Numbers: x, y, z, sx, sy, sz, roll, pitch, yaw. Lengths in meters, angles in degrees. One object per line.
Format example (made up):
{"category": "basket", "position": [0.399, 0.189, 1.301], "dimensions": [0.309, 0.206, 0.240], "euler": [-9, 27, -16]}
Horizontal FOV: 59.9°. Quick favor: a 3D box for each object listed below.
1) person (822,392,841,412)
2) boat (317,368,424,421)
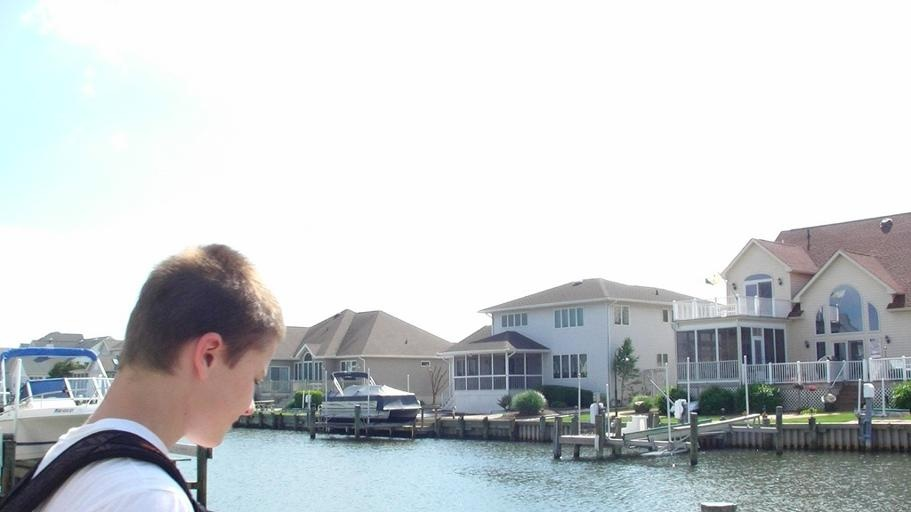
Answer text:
{"category": "person", "position": [21.461, 8.258, 45.124], "dimensions": [0.969, 1.196, 0.916], "euler": [1, 4, 27]}
{"category": "boat", "position": [-5.814, 9.622, 53.187], "dimensions": [5.801, 2.712, 4.233], "euler": [-1, -4, 43]}
